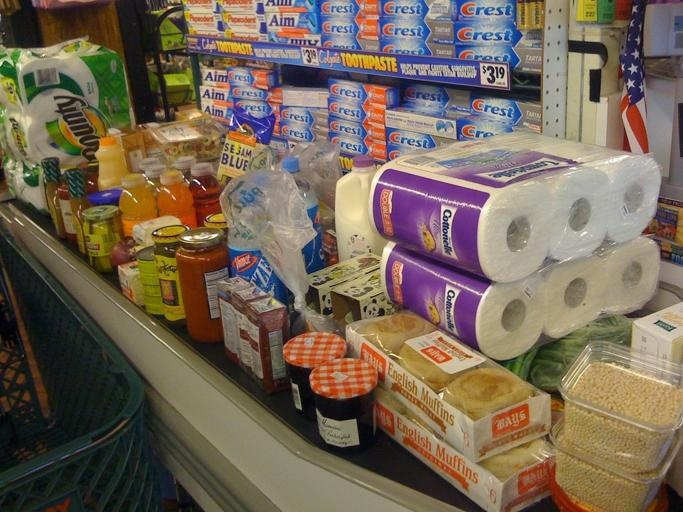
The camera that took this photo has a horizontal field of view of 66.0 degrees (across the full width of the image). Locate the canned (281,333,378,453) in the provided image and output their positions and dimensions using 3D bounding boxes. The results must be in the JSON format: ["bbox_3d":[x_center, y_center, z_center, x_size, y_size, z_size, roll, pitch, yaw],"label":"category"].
[{"bbox_3d":[-0.022,0.293,1.230,0.148,0.165,0.268,-18,32,-26],"label":"canned"}]

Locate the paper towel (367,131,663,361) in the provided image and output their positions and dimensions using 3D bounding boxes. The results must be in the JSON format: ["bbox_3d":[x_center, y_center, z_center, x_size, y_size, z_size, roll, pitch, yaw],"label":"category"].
[{"bbox_3d":[0.412,-0.035,1.338,0.566,0.416,0.537,-14,22,-25],"label":"paper towel"}]

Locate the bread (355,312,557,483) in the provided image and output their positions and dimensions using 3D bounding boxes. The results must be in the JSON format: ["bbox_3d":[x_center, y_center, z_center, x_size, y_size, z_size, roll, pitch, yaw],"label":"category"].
[{"bbox_3d":[0.209,0.263,1.139,0.183,0.135,0.431,-20,26,-32],"label":"bread"}]

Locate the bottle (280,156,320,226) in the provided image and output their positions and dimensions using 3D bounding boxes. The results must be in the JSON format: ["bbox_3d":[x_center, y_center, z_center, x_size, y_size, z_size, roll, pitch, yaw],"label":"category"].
[{"bbox_3d":[-0.136,-0.224,1.726,0.099,0.196,0.371,-7,22,-4],"label":"bottle"}]
